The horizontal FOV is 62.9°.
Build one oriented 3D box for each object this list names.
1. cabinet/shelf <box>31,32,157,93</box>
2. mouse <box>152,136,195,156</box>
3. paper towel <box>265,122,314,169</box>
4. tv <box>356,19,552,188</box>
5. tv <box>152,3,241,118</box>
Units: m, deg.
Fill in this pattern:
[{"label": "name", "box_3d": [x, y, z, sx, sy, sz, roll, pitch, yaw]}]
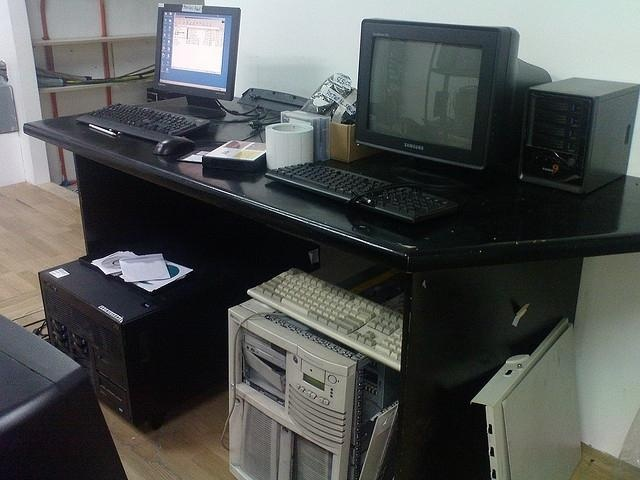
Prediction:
[{"label": "cabinet/shelf", "box_3d": [-1.796, -1.464, 4.206, 0.339, 0.391, 1.118, 16, 25, 30]}, {"label": "mouse", "box_3d": [-0.470, -0.307, 1.653, 0.060, 0.036, 0.104, 23, 34, 38]}, {"label": "paper towel", "box_3d": [-0.107, -0.277, 1.583, 0.144, 0.105, 0.143, -16, 25, -38]}, {"label": "tv", "box_3d": [0.406, -0.493, 1.551, 0.467, 0.372, 0.507, 20, 36, 34]}, {"label": "tv", "box_3d": [-0.480, -0.703, 2.056, 0.513, 0.499, 0.166, 19, 30, 30]}]
